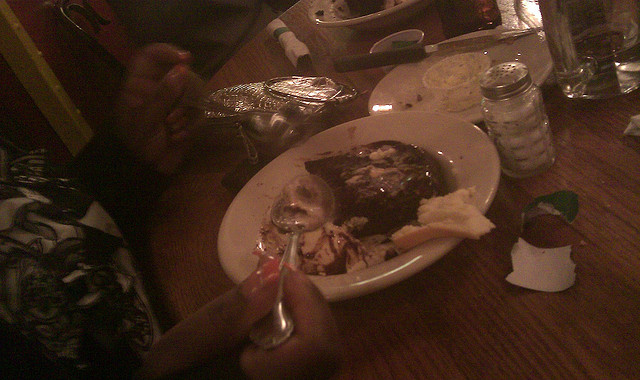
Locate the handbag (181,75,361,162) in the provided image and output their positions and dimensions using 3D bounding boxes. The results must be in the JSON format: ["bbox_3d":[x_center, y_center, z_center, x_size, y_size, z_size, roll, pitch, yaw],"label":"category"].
[{"bbox_3d":[-0.161,-0.176,1.422,0.414,0.148,0.302,1,28,17],"label":"handbag"}]

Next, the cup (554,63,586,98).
[{"bbox_3d":[0.615,-0.268,1.138,0.075,0.078,0.072,-20,21,8],"label":"cup"}]
